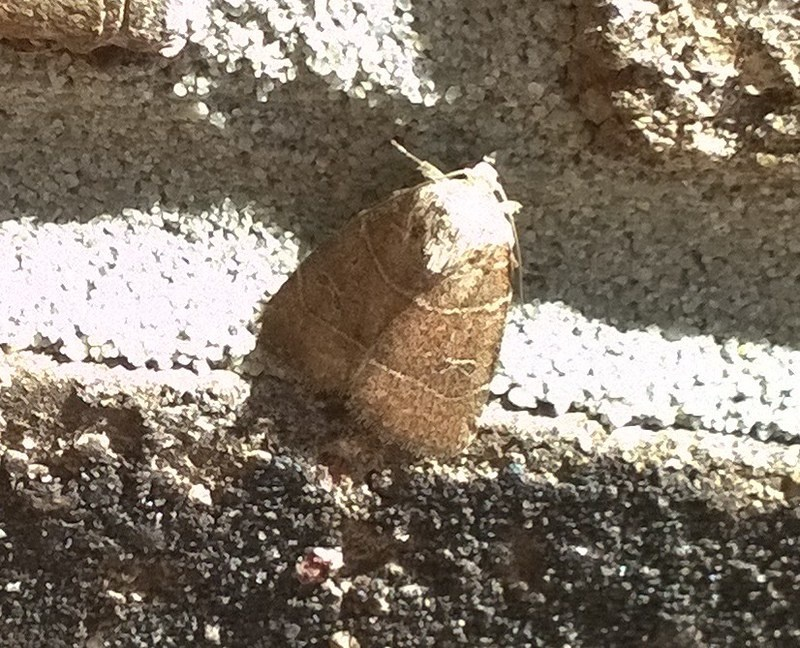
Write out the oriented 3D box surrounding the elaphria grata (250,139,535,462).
[{"bbox_3d":[0.026,-0.014,2.648,0.461,0.462,0.547,6,44,1],"label":"elaphria grata"}]
